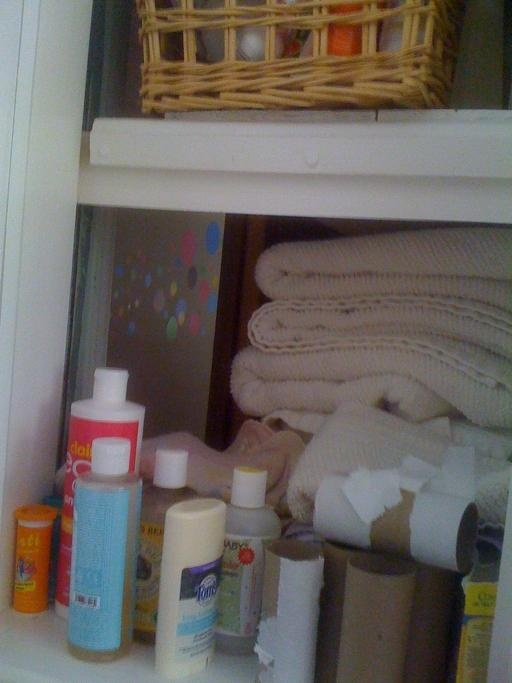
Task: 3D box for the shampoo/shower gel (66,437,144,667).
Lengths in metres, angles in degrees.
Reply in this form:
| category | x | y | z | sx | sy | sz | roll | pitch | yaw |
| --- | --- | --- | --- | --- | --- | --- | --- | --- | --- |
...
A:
| category | x | y | z | sx | sy | sz | roll | pitch | yaw |
| --- | --- | --- | --- | --- | --- | --- | --- | --- | --- |
| shampoo/shower gel | -0.119 | 0.177 | 0.491 | 0.053 | 0.151 | 0.036 | 1 | 9 | -12 |

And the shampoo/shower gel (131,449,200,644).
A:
| category | x | y | z | sx | sy | sz | roll | pitch | yaw |
| --- | --- | --- | --- | --- | --- | --- | --- | --- | --- |
| shampoo/shower gel | -0.073 | 0.192 | 0.538 | 0.040 | 0.144 | 0.041 | 7 | -5 | -33 |

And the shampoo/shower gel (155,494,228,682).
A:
| category | x | y | z | sx | sy | sz | roll | pitch | yaw |
| --- | --- | --- | --- | --- | --- | --- | --- | --- | --- |
| shampoo/shower gel | -0.051 | 0.194 | 0.485 | 0.052 | 0.133 | 0.027 | -6 | 12 | -44 |

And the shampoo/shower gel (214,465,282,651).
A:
| category | x | y | z | sx | sy | sz | roll | pitch | yaw |
| --- | --- | --- | --- | --- | --- | --- | --- | --- | --- |
| shampoo/shower gel | -0.014 | 0.190 | 0.541 | 0.059 | 0.148 | 0.061 | 7 | -4 | -3 |
